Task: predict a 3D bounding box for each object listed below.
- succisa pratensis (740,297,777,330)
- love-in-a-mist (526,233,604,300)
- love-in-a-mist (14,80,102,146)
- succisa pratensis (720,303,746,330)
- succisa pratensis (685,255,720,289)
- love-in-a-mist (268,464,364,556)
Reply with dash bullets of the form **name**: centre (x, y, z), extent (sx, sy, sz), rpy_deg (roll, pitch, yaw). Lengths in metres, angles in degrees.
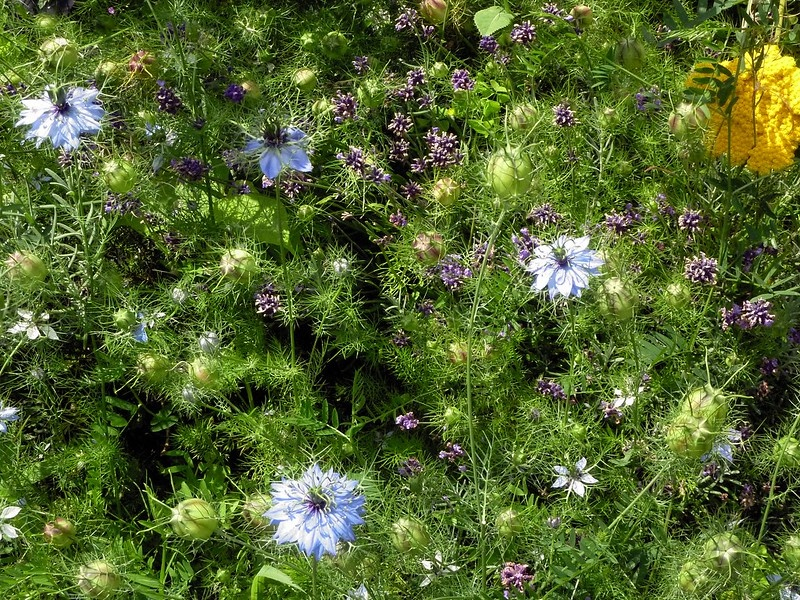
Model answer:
- **succisa pratensis**: centre (0.835, 0.032, 1.843), extent (0.064, 0.086, 0.080), rpy_deg (5, 93, 11)
- **love-in-a-mist**: centre (0.342, -0.071, 1.629), extent (0.144, 0.047, 0.138), rpy_deg (-34, 67, -10)
- **love-in-a-mist**: centre (-0.740, -0.427, 1.721), extent (0.130, 0.140, 0.082), rpy_deg (-10, 94, 4)
- **succisa pratensis**: centre (0.785, 0.038, 1.884), extent (0.052, 0.061, 0.064), rpy_deg (-23, 88, 8)
- **succisa pratensis**: centre (0.723, -0.070, 1.886), extent (0.067, 0.048, 0.081), rpy_deg (-15, 69, 14)
- **love-in-a-mist**: centre (-0.158, 0.430, 1.539), extent (0.172, 0.193, 0.191), rpy_deg (4, 91, 3)
